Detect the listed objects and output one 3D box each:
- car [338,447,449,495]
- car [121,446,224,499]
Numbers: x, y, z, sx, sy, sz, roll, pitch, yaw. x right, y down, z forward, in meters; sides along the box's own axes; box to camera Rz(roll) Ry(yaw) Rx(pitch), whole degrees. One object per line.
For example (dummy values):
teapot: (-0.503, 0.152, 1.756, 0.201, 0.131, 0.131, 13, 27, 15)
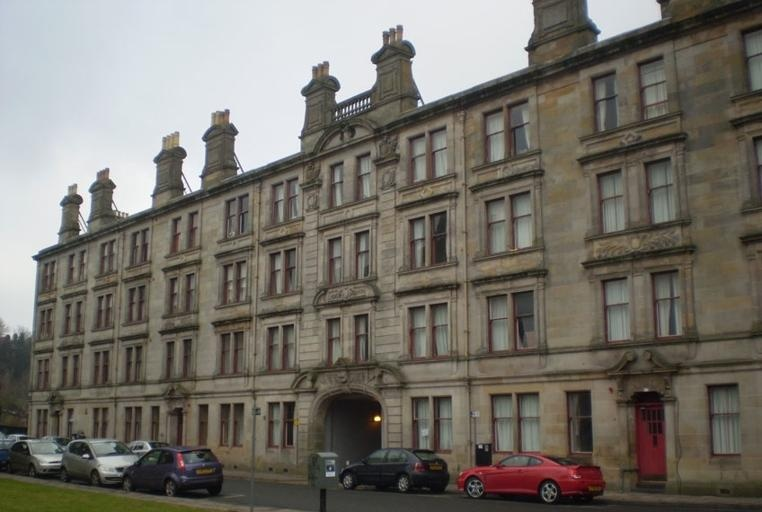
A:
car: (0.771, 10.566, 47.436, 4.680, 1.585, 2.298, -8, -17, 38)
car: (-9.891, 10.245, 45.421, 4.230, 2.283, 1.525, -6, -20, 14)
